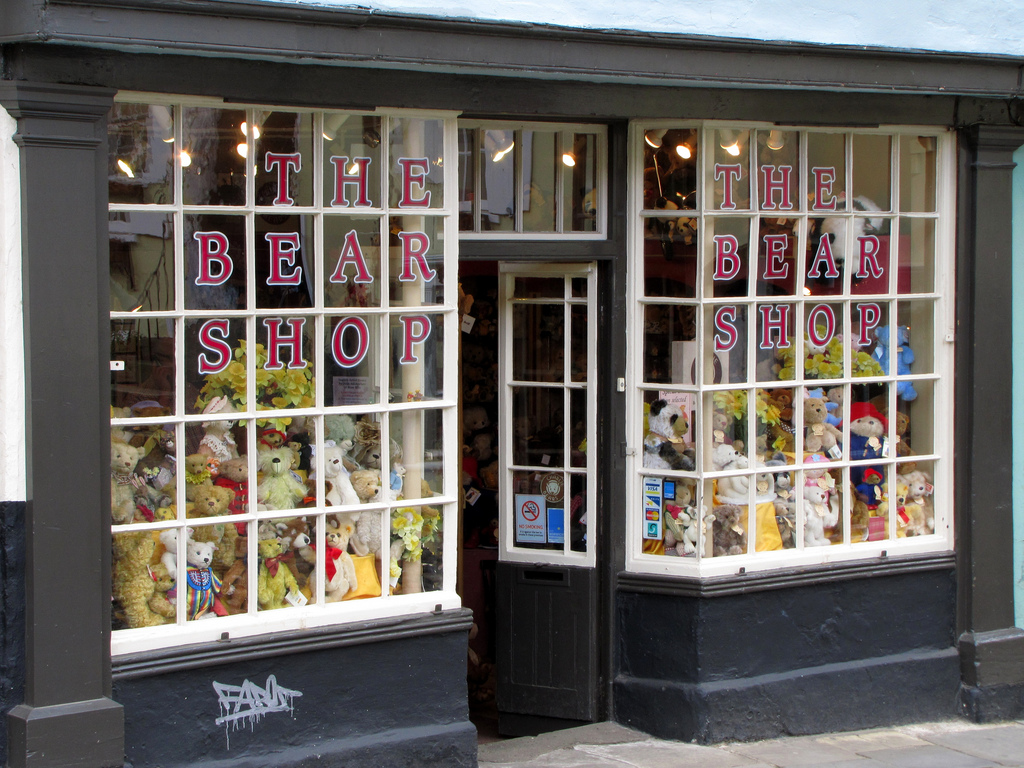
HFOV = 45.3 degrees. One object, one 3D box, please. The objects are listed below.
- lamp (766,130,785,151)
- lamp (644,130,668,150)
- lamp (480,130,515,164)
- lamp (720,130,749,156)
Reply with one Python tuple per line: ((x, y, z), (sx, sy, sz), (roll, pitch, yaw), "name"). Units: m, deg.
((1.566, -1.422, 7.249), (0.105, 0.118, 0.115), (5, 4, 9), "lamp")
((0.839, -1.401, 7.084), (0.127, 0.104, 0.035), (-1, 4, 8), "lamp")
((-0.076, -1.344, 7.067), (0.122, 0.208, 0.207), (0, -3, -23), "lamp")
((1.292, -1.389, 7.137), (0.205, 0.154, 0.037), (-5, 5, -30), "lamp")
